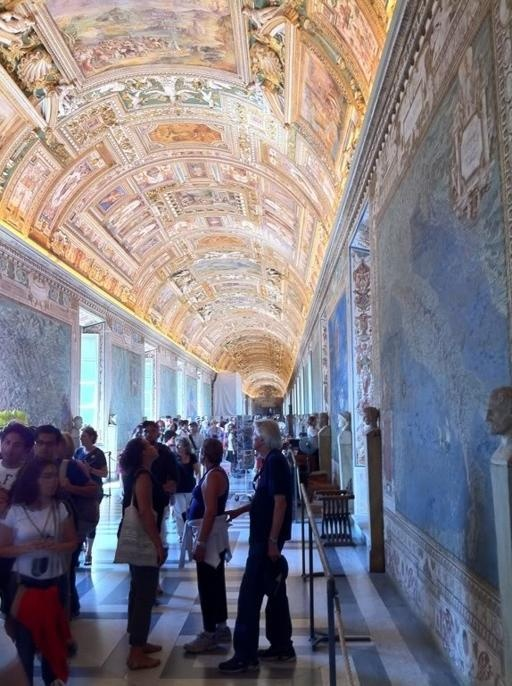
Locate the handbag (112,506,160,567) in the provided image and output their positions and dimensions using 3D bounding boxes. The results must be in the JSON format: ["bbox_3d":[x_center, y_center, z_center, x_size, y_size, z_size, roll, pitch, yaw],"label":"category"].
[{"bbox_3d":[-1.015,1.569,3.435,0.328,0.631,0.250,9,-40,-22],"label":"handbag"}]

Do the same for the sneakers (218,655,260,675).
[{"bbox_3d":[-0.143,2.457,3.212,0.296,0.191,0.132,6,-14,-2],"label":"sneakers"}]
